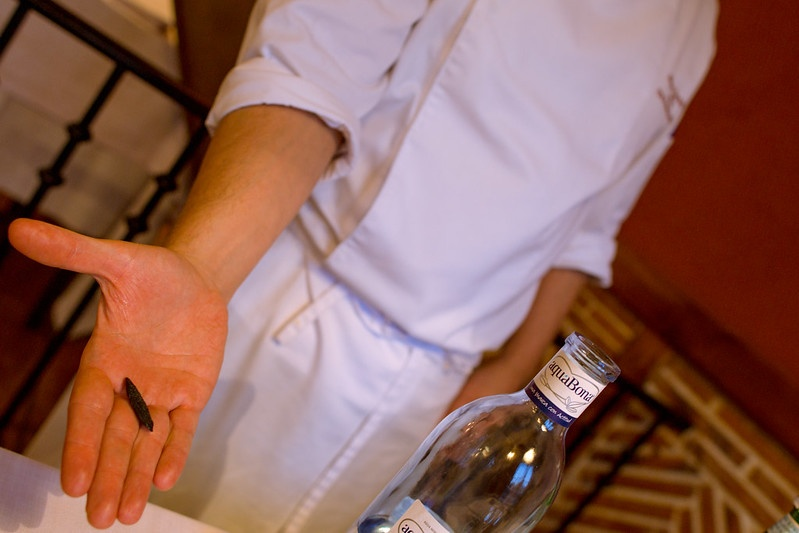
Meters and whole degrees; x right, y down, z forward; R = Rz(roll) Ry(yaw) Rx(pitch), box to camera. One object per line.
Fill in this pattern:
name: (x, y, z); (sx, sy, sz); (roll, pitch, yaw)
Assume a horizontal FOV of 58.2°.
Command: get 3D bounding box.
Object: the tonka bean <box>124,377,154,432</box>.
tonka bean: (-0.417, 0.214, 1.130); (0.023, 0.029, 0.107); (95, -24, -78)
